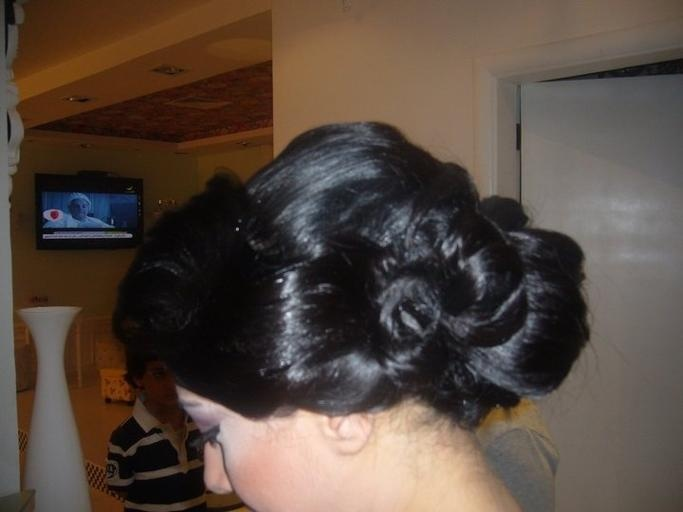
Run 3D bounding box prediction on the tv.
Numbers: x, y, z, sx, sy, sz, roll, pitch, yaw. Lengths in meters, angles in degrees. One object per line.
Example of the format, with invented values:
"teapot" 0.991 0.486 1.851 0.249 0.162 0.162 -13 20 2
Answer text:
"tv" -2.717 -0.471 6.399 0.860 0.712 0.100 -5 11 -37
